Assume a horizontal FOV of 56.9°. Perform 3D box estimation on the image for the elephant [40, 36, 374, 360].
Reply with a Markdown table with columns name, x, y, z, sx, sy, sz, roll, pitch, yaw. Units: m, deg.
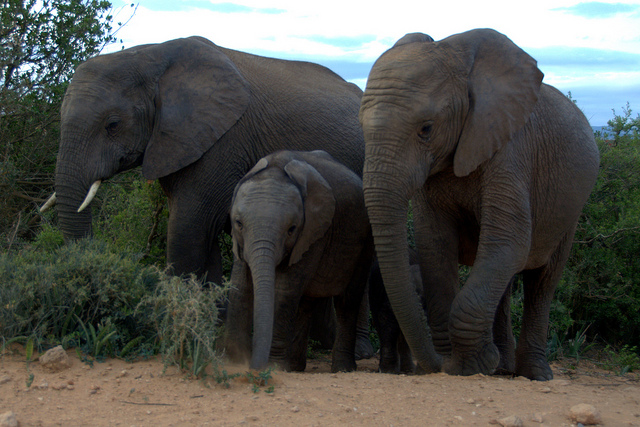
| name | x | y | z | sx | sy | sz | roll | pitch | yaw |
| --- | --- | --- | --- | --- | --- | --- | --- | --- | --- |
| elephant | -1.344 | -0.269 | 8.979 | 4.629 | 4.386 | 2.436 | 3 | 4 | -16 |

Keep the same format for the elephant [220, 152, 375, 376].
| name | x | y | z | sx | sy | sz | roll | pitch | yaw |
| --- | --- | --- | --- | --- | --- | --- | --- | --- | --- |
| elephant | -0.606 | 0.548 | 7.403 | 1.208 | 2.577 | 2.926 | 5 | 2 | -1 |

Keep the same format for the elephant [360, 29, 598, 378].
| name | x | y | z | sx | sy | sz | roll | pitch | yaw |
| --- | --- | --- | --- | --- | --- | --- | --- | --- | --- |
| elephant | 2.017 | -0.037 | 7.545 | 3.967 | 4.283 | 1.899 | 3 | 4 | -41 |
